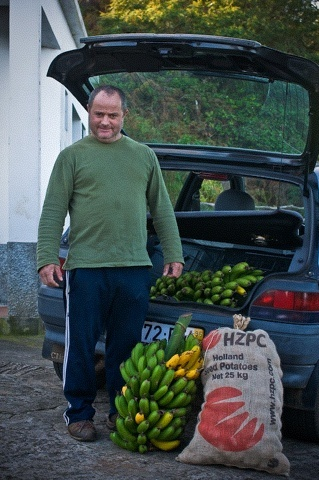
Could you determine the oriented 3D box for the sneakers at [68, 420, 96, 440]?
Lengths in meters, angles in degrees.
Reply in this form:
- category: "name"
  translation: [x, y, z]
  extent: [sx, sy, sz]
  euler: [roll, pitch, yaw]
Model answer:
- category: "sneakers"
  translation: [-0.394, 0.980, 2.390]
  extent: [0.145, 0.101, 0.096]
  euler: [5, -6, -9]
